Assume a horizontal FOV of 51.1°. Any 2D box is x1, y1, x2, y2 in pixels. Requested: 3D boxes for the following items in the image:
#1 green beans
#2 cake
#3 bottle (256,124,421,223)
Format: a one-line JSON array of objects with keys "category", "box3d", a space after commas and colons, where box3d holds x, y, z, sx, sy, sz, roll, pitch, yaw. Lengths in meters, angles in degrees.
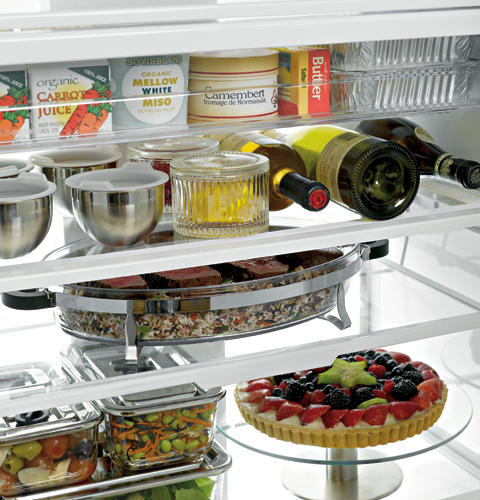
[{"category": "green beans", "box3d": [-0.108, 0.243, 0.718, 0.127, 0.049, 0.082, -3, 10, -15]}, {"category": "cake", "box3d": [0.166, 0.220, 0.780, 0.279, 0.067, 0.242, 2, 12, 22]}, {"category": "bottle", "box3d": [0.118, -0.095, 0.606, 0.061, 0.055, 0.230, -38, 25, -18]}]
